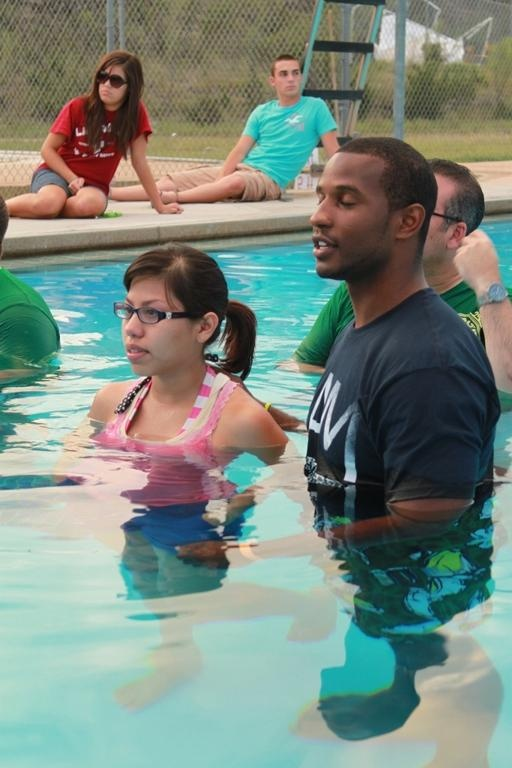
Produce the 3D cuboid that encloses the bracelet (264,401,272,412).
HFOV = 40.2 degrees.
[{"bbox_3d":[0.044,0.093,2.710,0.026,0.031,0.027,-2,1,-32],"label":"bracelet"}]

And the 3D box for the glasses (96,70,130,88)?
[{"bbox_3d":[-1.487,-3.125,7.156,0.209,0.193,0.084,13,50,18],"label":"glasses"}]

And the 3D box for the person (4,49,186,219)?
[{"bbox_3d":[-1.787,-2.684,7.632,1.563,1.693,0.656,-1,25,-6],"label":"person"}]
